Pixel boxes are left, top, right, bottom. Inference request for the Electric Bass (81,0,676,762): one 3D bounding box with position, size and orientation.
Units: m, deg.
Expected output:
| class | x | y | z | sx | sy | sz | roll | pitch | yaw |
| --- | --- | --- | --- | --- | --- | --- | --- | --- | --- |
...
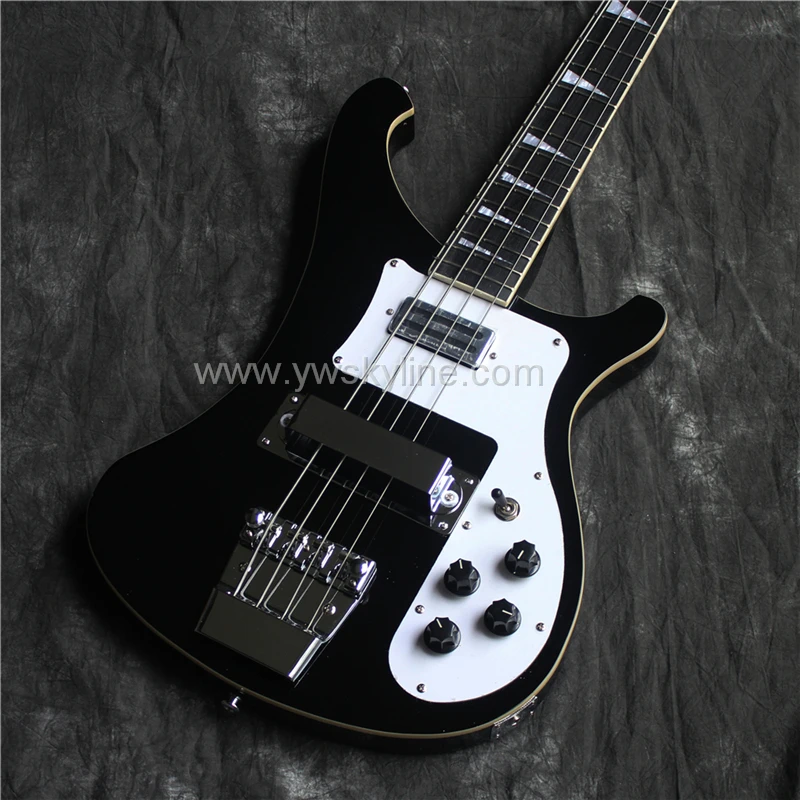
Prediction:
| class | x | y | z | sx | sy | sz | roll | pitch | yaw |
| --- | --- | --- | --- | --- | --- | --- | --- | --- | --- |
| Electric Bass | 0.053 | -0.080 | 1.840 | 0.756 | 0.527 | 1.295 | 28 | 82 | 4 |
